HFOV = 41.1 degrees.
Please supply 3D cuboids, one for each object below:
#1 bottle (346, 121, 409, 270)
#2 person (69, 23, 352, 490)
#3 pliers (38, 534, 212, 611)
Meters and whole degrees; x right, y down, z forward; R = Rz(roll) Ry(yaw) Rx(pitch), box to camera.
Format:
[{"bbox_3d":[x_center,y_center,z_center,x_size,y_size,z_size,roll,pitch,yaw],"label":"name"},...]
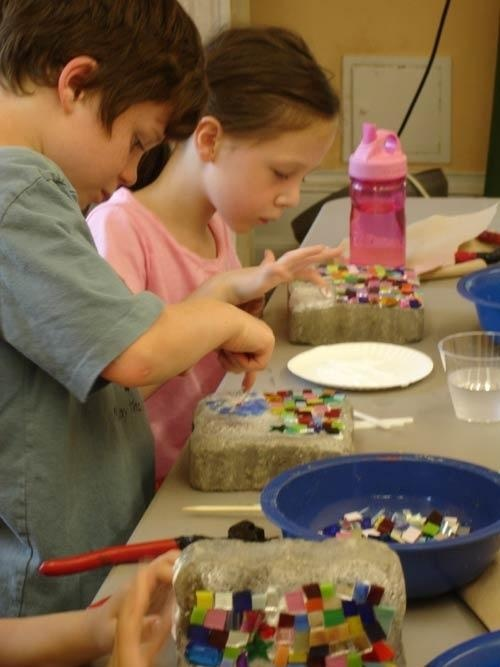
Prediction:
[{"bbox_3d":[0.247,-0.240,1.248,0.104,0.296,0.128,0,10,9],"label":"bottle"},{"bbox_3d":[-0.090,-0.108,1.175,0.407,0.751,0.423,0,23,-11],"label":"person"},{"bbox_3d":[-0.094,0.182,0.515,0.147,0.045,0.023,-12,27,0],"label":"pliers"}]
